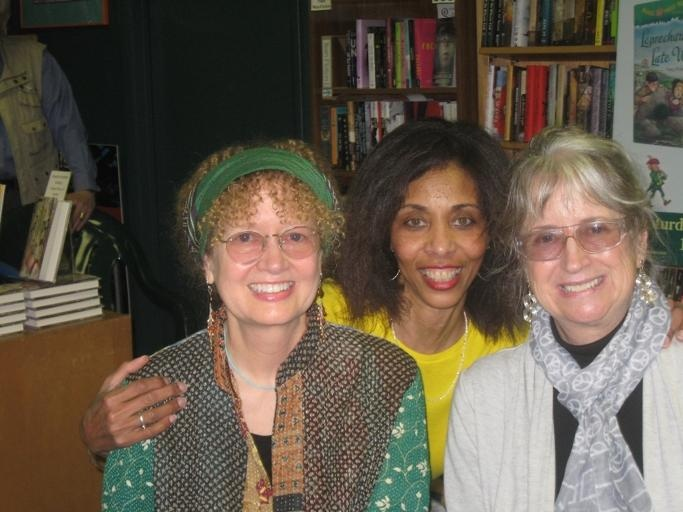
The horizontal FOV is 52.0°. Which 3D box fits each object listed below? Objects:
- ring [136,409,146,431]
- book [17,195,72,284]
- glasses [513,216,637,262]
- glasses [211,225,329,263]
[{"bbox_3d":[-0.643,0.537,2.261,0.016,0.044,0.036,-20,18,-14],"label":"ring"},{"bbox_3d":[-1.367,-0.054,3.234,0.322,0.447,0.048,10,-1,26],"label":"book"},{"bbox_3d":[0.740,-0.048,2.237,0.325,0.145,0.057,3,10,14],"label":"glasses"},{"bbox_3d":[-0.219,-0.033,2.194,0.296,0.114,0.051,-2,10,-10],"label":"glasses"}]
